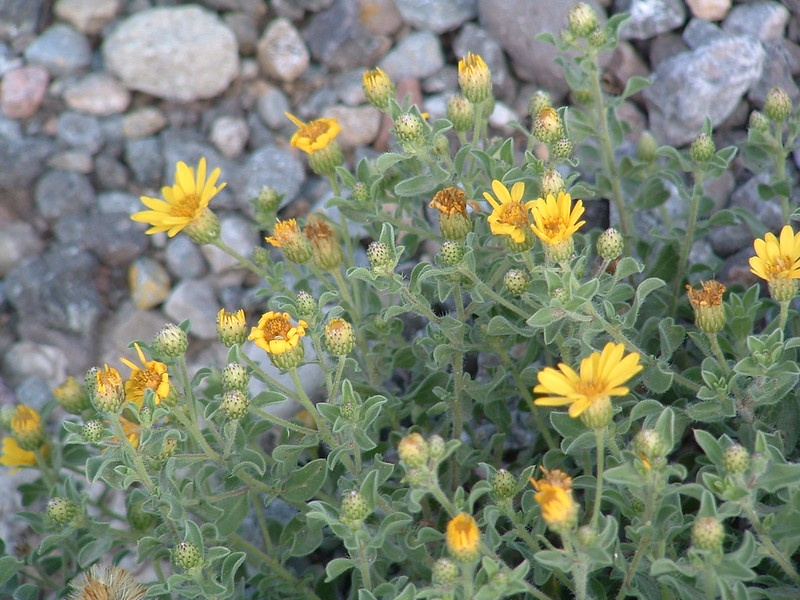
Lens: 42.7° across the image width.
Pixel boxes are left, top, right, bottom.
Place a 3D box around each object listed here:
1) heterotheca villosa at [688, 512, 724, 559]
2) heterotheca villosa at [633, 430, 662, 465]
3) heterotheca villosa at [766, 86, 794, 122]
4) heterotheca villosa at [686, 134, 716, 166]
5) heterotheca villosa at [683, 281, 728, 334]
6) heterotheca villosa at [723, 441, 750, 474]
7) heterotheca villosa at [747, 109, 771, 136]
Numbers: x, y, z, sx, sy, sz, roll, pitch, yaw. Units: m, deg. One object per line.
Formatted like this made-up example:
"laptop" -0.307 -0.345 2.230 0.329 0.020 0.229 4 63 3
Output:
"heterotheca villosa" 1.139 0.869 3.783 0.114 0.168 0.131 -2 20 -3
"heterotheca villosa" 0.966 0.548 3.892 0.103 0.089 0.123 -17 86 25
"heterotheca villosa" 1.754 -0.896 4.731 0.120 0.141 0.182 -2 95 9
"heterotheca villosa" 1.375 -0.659 4.648 0.097 0.231 0.112 4 69 14
"heterotheca villosa" 1.295 0.037 4.301 0.150 0.253 0.171 6 27 38
"heterotheca villosa" 1.270 0.603 3.906 0.086 0.096 0.126 3 74 -13
"heterotheca villosa" 1.678 -0.821 4.771 0.081 0.089 0.135 10 73 17
